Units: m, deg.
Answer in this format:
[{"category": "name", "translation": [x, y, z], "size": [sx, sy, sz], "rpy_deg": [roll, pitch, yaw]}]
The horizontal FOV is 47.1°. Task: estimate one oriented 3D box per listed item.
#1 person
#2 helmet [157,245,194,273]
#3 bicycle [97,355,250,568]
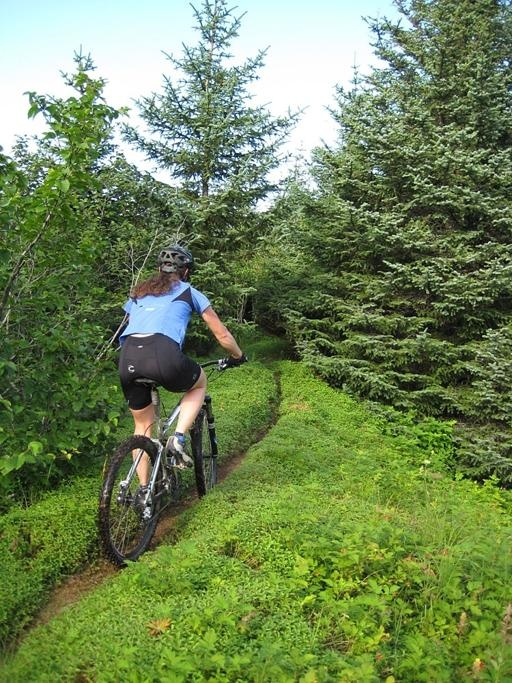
[{"category": "person", "translation": [-0.657, 0.097, 4.586], "size": [0.633, 1.787, 0.844], "rpy_deg": [2, 1, 27]}, {"category": "helmet", "translation": [-0.643, -0.687, 4.817], "size": [0.233, 0.241, 0.276], "rpy_deg": [10, 18, 13]}, {"category": "bicycle", "translation": [-0.930, 0.987, 4.861], "size": [1.015, 1.072, 1.873], "rpy_deg": [4, 12, 16]}]
